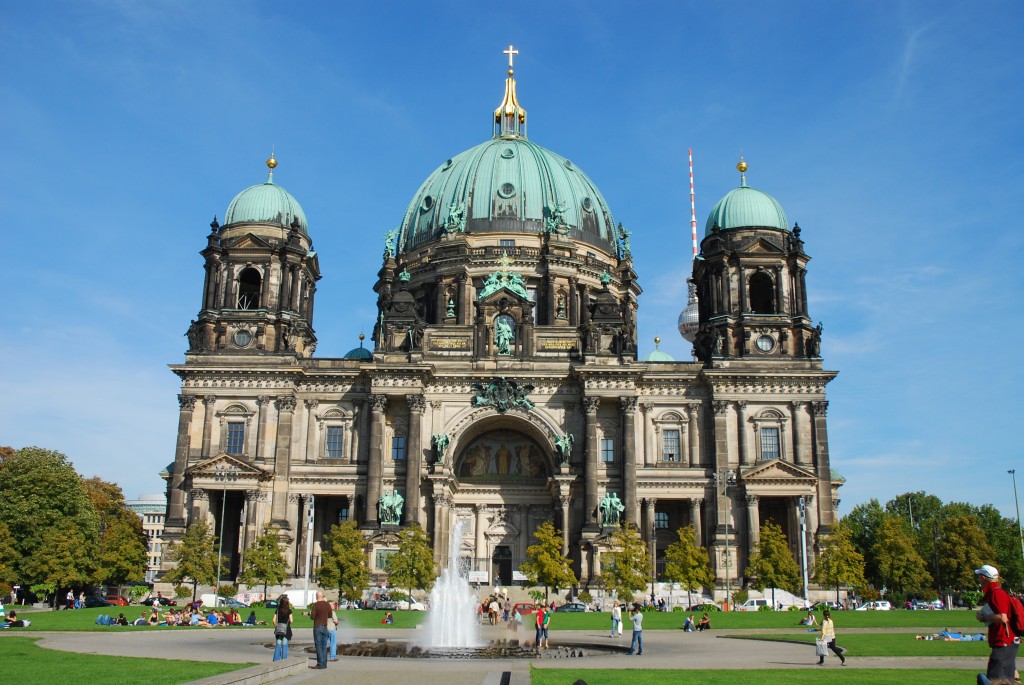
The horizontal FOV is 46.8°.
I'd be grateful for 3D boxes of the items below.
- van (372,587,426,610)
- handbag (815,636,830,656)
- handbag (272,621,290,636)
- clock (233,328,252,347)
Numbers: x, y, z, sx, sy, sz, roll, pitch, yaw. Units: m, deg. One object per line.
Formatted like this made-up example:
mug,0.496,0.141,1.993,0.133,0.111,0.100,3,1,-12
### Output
van,-9.502,21.489,98.180,3.793,1.797,2.116,-1,-5,-1
handbag,16.168,15.827,61.444,0.769,0.932,0.786,2,-25,18
handbag,-11.367,14.207,58.513,0.701,0.876,0.643,5,-18,-15
clock,-25.761,-0.462,112.653,1.775,1.886,0.264,-4,-10,9
